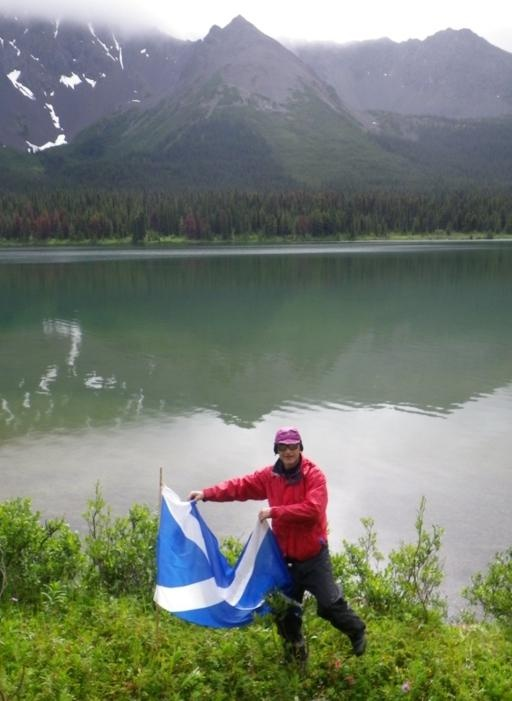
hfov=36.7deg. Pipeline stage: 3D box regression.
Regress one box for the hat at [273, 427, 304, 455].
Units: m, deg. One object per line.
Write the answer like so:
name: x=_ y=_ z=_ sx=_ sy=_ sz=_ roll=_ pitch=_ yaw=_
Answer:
hat: x=0.414 y=1.152 z=9.794 sx=0.342 sy=0.347 sz=0.338 roll=-1 pitch=8 yaw=-4
